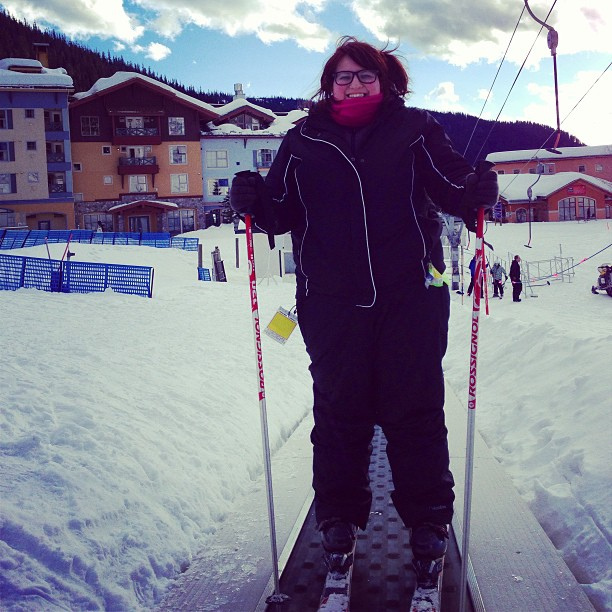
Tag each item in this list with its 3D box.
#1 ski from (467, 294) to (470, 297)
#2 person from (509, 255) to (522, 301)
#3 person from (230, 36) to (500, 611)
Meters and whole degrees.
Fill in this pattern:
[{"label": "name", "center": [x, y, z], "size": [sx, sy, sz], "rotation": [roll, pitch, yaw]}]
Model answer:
[{"label": "ski", "center": [6.242, -0.406, 21.209], "size": [0.145, 0.088, 0.143], "rotation": [6, 6, -9]}, {"label": "person", "center": [7.329, -0.948, 19.311], "size": [0.341, 1.574, 1.132], "rotation": [1, 3, 21]}, {"label": "person", "center": [0.260, 0.012, 2.273], "size": [0.981, 2.355, 0.495], "rotation": [1, 3, 19]}]
